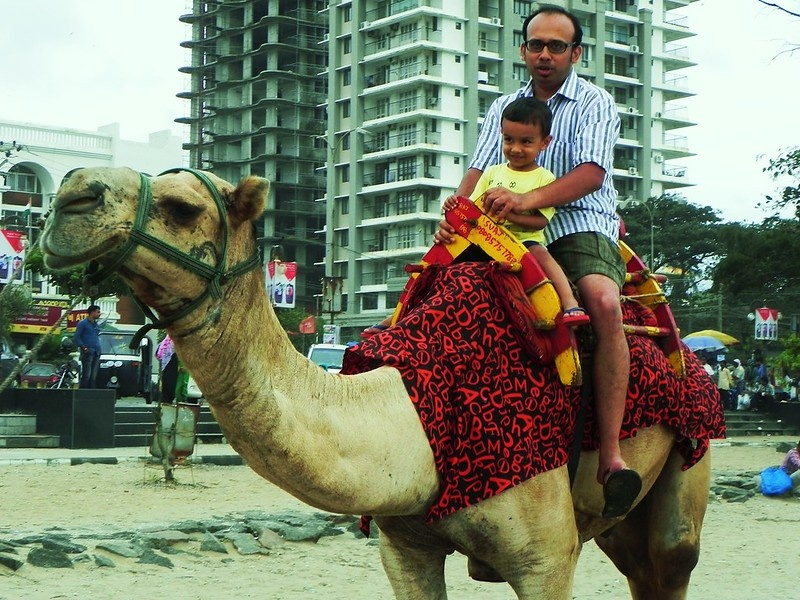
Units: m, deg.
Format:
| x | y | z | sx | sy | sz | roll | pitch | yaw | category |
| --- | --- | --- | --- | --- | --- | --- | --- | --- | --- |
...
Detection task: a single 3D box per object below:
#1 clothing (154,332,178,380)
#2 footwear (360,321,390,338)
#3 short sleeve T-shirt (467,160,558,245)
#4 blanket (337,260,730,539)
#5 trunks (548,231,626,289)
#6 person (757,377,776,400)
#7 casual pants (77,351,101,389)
| x | y | z | sx | sy | sz | roll | pitch | yaw | category |
| --- | --- | --- | --- | --- | --- | --- | --- | --- | --- |
| -4.337 | 0.871 | 22.729 | 0.277 | 0.681 | 0.479 | -2 | 23 | -18 | clothing |
| -0.148 | 0.192 | 8.725 | 0.092 | 0.057 | 0.260 | -15 | -5 | 29 | footwear |
| 0.806 | -0.669 | 8.607 | 0.641 | 0.561 | 0.345 | 3 | -5 | 23 | short sleeve T-shirt |
| 0.702 | 0.606 | 9.202 | 3.741 | 1.783 | 1.162 | -3 | -3 | -34 | blanket |
| 1.288 | -0.376 | 8.705 | 0.397 | 0.352 | 0.530 | -19 | -11 | -2 | trunks |
| 10.762 | 2.510 | 36.137 | 0.292 | 0.745 | 0.539 | -13 | 35 | 13 | person |
| -5.686 | 1.254 | 22.655 | 0.320 | 0.783 | 0.233 | 6 | 16 | -5 | casual pants |
